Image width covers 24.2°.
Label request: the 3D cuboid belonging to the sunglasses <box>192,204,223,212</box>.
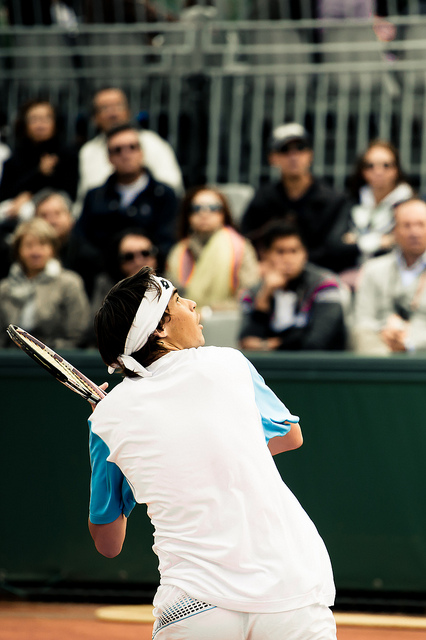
[{"bbox_3d":[-0.023,-0.546,4.843,0.144,0.040,0.033,-1,14,5],"label":"sunglasses"}]

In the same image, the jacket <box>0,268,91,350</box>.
[{"bbox_3d":[-0.807,-0.047,4.893,0.399,0.347,0.213,-3,-11,5],"label":"jacket"}]

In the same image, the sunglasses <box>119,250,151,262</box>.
[{"bbox_3d":[-0.384,-0.317,4.896,0.165,0.062,0.031,3,15,21],"label":"sunglasses"}]

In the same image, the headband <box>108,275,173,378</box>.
[{"bbox_3d":[-0.179,0.017,2.692,0.071,0.224,0.206,24,4,-23],"label":"headband"}]

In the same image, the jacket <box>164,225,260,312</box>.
[{"bbox_3d":[-0.006,-0.272,4.962,0.519,0.397,0.280,0,3,29],"label":"jacket"}]

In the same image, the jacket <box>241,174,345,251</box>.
[{"bbox_3d":[0.410,-0.528,4.788,0.355,0.260,0.110,4,18,-1],"label":"jacket"}]

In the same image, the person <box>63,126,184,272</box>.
[{"bbox_3d":[-0.406,-0.610,5.072,0.877,0.729,0.388,5,17,25],"label":"person"}]

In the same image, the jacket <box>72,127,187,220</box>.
[{"bbox_3d":[-0.448,-0.727,4.971,0.654,0.460,0.192,6,16,30],"label":"jacket"}]

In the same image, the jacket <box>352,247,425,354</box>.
[{"bbox_3d":[0.778,-0.086,4.564,0.372,0.467,0.187,-2,1,12],"label":"jacket"}]

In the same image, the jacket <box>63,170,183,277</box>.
[{"bbox_3d":[-0.479,-0.587,5.123,0.218,0.526,0.748,-27,-34,34],"label":"jacket"}]

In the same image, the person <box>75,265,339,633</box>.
[{"bbox_3d":[-0.011,0.337,2.608,0.531,0.899,0.556,-7,15,-21],"label":"person"}]

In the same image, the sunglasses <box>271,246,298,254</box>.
[{"bbox_3d":[0.352,-0.332,4.733,0.108,0.030,0.029,0,14,8],"label":"sunglasses"}]

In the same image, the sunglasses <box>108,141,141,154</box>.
[{"bbox_3d":[-0.433,-0.850,4.908,0.185,0.058,0.048,5,15,27],"label":"sunglasses"}]
